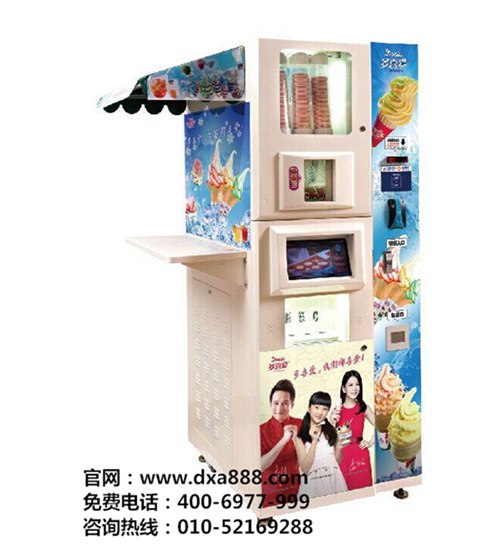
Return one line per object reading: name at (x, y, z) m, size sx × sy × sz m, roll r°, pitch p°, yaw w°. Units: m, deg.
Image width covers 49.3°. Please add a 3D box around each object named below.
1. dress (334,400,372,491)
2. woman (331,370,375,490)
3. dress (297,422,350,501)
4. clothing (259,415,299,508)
dress at (0.501, 0.823, 2.650) m, size 0.151 × 0.484 × 0.089 m, roll -4°, pitch 17°, yaw 10°
woman at (0.526, 0.821, 2.641) m, size 0.209 × 0.699 × 0.187 m, roll -5°, pitch 10°, yaw 4°
dress at (0.363, 0.958, 2.617) m, size 0.213 × 0.152 × 0.313 m, roll -10°, pitch 39°, yaw 13°
clothing at (0.112, 0.821, 2.492) m, size 0.230 × 0.386 × 0.077 m, roll 1°, pitch 4°, yaw -43°
